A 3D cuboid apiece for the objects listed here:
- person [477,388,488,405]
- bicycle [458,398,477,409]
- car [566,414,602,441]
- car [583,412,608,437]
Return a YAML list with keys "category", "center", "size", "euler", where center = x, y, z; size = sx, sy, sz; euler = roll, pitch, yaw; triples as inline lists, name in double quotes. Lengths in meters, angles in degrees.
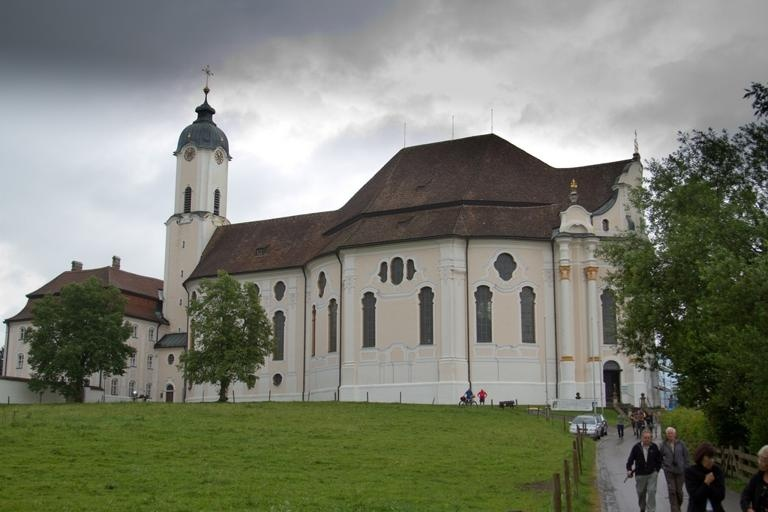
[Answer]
- category: "person"
  center: [8.172, 11.714, 70.464]
  size: [0.773, 1.330, 2.300]
  euler: [2, 0, 7]
- category: "bicycle"
  center: [6.794, 11.947, 68.800]
  size: [1.716, 1.000, 0.852]
  euler: [-3, -12, 12]
- category: "car"
  center: [13.256, 10.875, 55.379]
  size: [2.003, 1.471, 4.469]
  euler: [-4, -16, 15]
- category: "car"
  center: [15.075, 11.595, 58.422]
  size: [1.209, 1.069, 2.518]
  euler: [-4, -21, 10]
